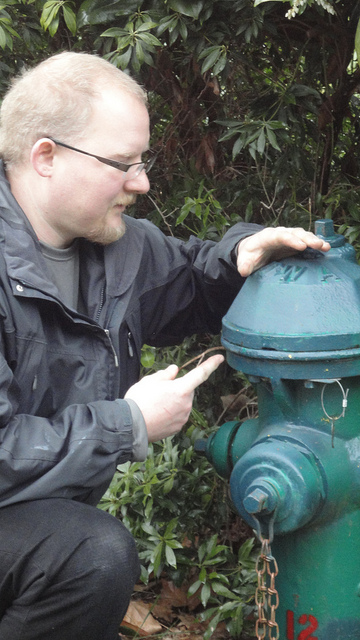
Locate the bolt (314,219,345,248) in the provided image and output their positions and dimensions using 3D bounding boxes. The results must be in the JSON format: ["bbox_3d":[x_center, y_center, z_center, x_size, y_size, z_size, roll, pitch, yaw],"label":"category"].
[{"bbox_3d":[0.389,-0.227,1.631,0.082,0.053,0.079,-5,14,1],"label":"bolt"}]

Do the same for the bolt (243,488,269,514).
[{"bbox_3d":[0.163,0.388,1.346,0.046,0.044,0.051,22,14,15],"label":"bolt"}]

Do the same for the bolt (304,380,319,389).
[{"bbox_3d":[0.301,0.145,1.440,0.034,0.020,0.026,3,-1,9],"label":"bolt"}]

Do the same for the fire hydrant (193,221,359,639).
[{"bbox_3d":[0.295,0.289,1.521,0.364,1.057,0.386,-4,6,-1],"label":"fire hydrant"}]
